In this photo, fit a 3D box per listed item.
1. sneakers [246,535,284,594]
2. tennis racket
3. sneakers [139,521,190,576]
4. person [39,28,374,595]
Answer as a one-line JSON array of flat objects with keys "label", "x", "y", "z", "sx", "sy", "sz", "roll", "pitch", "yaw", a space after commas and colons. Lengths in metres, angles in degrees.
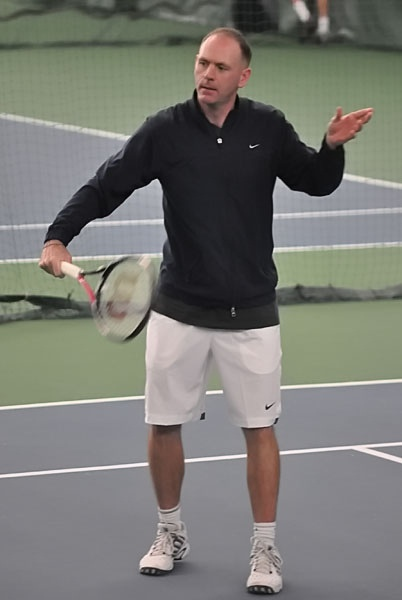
[{"label": "sneakers", "x": 0.217, "y": 0.890, "z": 2.084, "sx": 0.116, "sy": 0.143, "sz": 0.145, "roll": 0, "pitch": 10, "yaw": 7}, {"label": "tennis racket", "x": -0.242, "y": -0.004, "z": 1.967, "sx": 0.105, "sy": 0.265, "sz": 0.252, "roll": 6, "pitch": 13, "yaw": 36}, {"label": "sneakers", "x": -0.120, "y": 0.886, "z": 2.245, "sx": 0.088, "sy": 0.117, "sz": 0.233, "roll": -1, "pitch": 9, "yaw": 18}, {"label": "person", "x": 0.038, "y": 0.028, "z": 2.111, "sx": 1.028, "sy": 1.850, "sz": 0.459, "roll": 1, "pitch": 11, "yaw": 13}]
